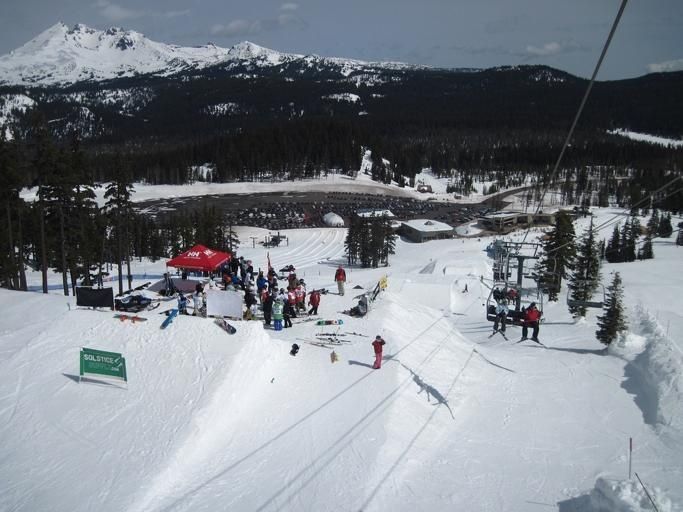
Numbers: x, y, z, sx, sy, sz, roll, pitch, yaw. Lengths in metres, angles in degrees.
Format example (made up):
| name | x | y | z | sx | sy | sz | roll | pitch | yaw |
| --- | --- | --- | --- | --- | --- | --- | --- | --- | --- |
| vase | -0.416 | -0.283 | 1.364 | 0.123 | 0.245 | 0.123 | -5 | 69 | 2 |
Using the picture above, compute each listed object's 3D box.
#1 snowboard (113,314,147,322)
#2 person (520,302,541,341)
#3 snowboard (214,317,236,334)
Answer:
| name | x | y | z | sx | sy | sz | roll | pitch | yaw |
| --- | --- | --- | --- | --- | --- | --- | --- | --- | --- |
| snowboard | -11.899 | 3.535 | 37.216 | 1.950 | 0.276 | 0.603 | 2 | 9 | 15 |
| person | 11.252 | 3.973 | 39.356 | 1.249 | 2.780 | 0.880 | 5 | 30 | 19 |
| snowboard | -6.305 | 3.880 | 35.984 | 0.496 | 0.561 | 1.857 | 15 | 14 | -38 |
